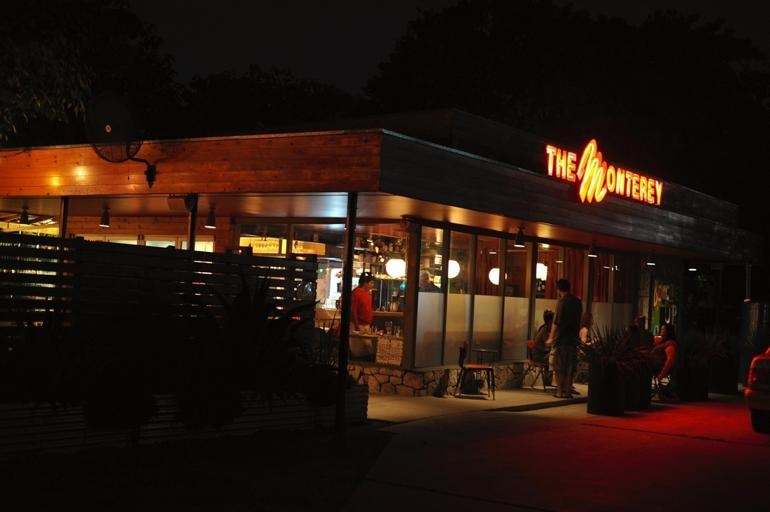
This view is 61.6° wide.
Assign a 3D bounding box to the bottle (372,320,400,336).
[{"bbox_3d":[0.013,1.608,14.347,0.596,0.329,0.427,-1,-4,17],"label":"bottle"}]

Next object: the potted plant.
[{"bbox_3d":[4.639,2.247,13.025,1.575,1.757,1.466,2,-7,-17],"label":"potted plant"}]

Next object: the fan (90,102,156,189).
[{"bbox_3d":[-5.117,-2.188,12.396,1.365,1.843,0.718,3,-1,21],"label":"fan"}]

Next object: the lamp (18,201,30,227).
[{"bbox_3d":[-9.182,-1.041,16.437,0.181,0.564,1.580,4,-1,-30],"label":"lamp"}]

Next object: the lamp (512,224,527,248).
[{"bbox_3d":[3.213,-0.466,14.948,0.426,0.589,0.419,4,-8,4],"label":"lamp"}]

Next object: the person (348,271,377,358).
[{"bbox_3d":[-0.455,1.319,14.199,0.589,1.860,0.843,3,-1,-3],"label":"person"}]

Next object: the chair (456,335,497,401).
[{"bbox_3d":[1.859,2.488,13.719,1.044,1.461,0.966,0,-2,10],"label":"chair"}]

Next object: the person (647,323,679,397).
[{"bbox_3d":[6.260,2.354,14.491,0.527,1.427,2.456,3,-1,25],"label":"person"}]
